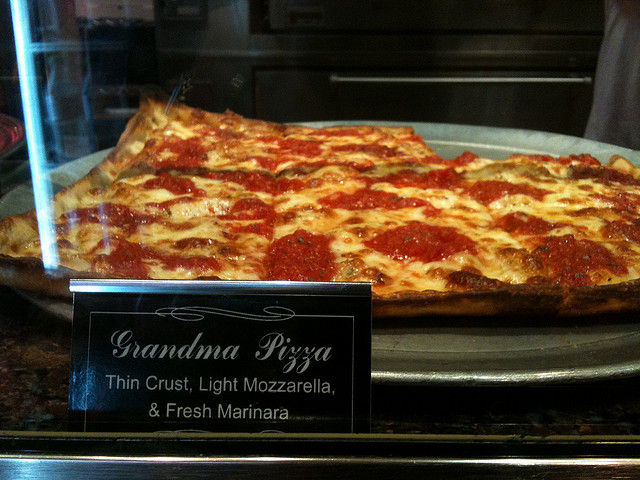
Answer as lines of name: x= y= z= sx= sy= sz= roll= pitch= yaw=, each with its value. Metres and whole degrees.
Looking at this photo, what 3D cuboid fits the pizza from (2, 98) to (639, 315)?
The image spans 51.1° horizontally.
pizza: x=0.167 y=-0.166 z=1.898 sx=1.643 sy=0.241 sz=1.300 roll=-1 pitch=21 yaw=-5
